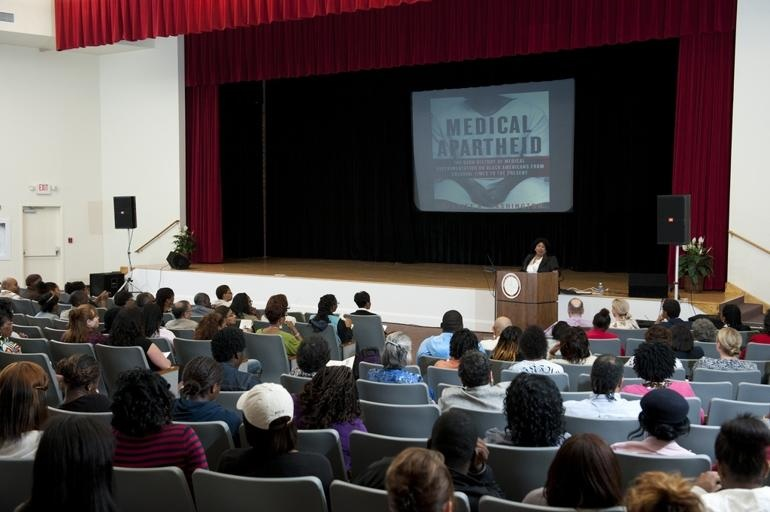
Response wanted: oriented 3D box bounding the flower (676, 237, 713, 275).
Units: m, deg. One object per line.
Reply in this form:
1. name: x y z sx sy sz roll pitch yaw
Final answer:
1. flower: 5.461 0.019 10.277 0.592 0.642 0.377 1 0 -35

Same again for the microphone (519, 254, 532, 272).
1. microphone: 2.627 0.121 10.915 0.105 0.311 0.211 20 8 24

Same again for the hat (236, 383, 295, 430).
1. hat: -0.633 0.773 3.037 0.286 0.232 0.245 1 0 -7

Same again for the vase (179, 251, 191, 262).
1. vase: -4.695 0.008 13.711 0.206 0.170 0.217 7 9 36

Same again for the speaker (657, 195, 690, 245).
1. speaker: 4.624 -0.555 9.458 0.488 0.788 0.509 10 -9 -43

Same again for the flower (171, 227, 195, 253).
1. flower: -4.837 -0.392 14.185 0.595 0.796 0.587 1 5 -2

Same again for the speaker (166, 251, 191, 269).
1. speaker: -4.712 0.100 13.252 0.371 0.344 0.429 -2 8 -27

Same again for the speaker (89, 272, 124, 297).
1. speaker: -5.718 0.587 11.932 0.279 0.412 0.404 4 4 26

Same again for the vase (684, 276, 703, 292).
1. vase: 5.431 0.482 10.233 0.249 0.227 0.281 0 -2 3
